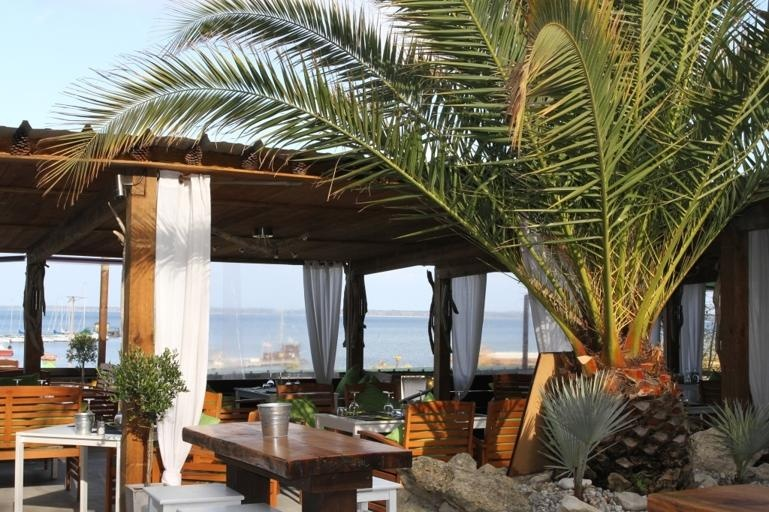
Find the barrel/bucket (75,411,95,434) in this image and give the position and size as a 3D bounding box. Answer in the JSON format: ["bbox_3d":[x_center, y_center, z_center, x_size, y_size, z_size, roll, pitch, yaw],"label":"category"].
[{"bbox_3d":[-3.011,1.698,7.360,0.157,0.188,0.213,-1,-9,6],"label":"barrel/bucket"}]

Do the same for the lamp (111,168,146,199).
[{"bbox_3d":[-2.649,-0.745,7.482,0.315,0.322,0.260,2,-5,1],"label":"lamp"}]

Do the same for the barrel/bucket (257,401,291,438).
[{"bbox_3d":[-0.851,1.278,5.646,0.224,0.202,0.252,-1,-12,3],"label":"barrel/bucket"}]
